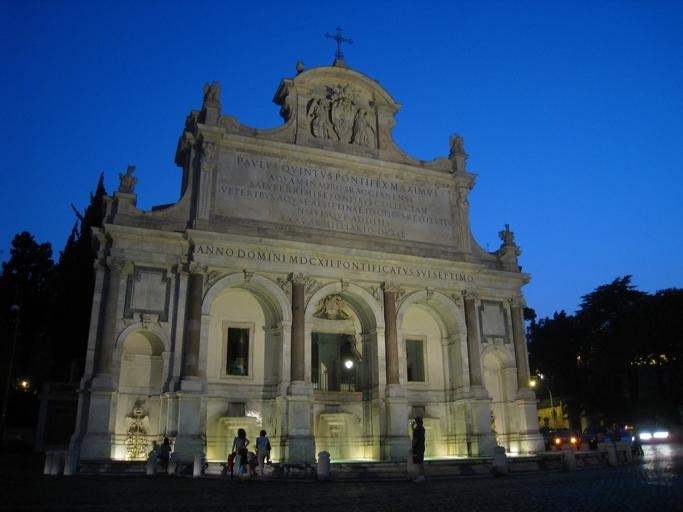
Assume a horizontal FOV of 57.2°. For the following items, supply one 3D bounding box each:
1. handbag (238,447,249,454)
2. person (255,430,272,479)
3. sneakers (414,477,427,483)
[{"bbox_3d":[-3.760,7.444,23.984,0.388,0.194,0.268,9,-25,-23],"label":"handbag"},{"bbox_3d":[-3.110,7.686,24.481,0.524,1.715,0.611,3,-23,-10],"label":"person"},{"bbox_3d":[2.962,8.375,23.509,0.456,0.206,0.160,-5,-9,8],"label":"sneakers"}]
